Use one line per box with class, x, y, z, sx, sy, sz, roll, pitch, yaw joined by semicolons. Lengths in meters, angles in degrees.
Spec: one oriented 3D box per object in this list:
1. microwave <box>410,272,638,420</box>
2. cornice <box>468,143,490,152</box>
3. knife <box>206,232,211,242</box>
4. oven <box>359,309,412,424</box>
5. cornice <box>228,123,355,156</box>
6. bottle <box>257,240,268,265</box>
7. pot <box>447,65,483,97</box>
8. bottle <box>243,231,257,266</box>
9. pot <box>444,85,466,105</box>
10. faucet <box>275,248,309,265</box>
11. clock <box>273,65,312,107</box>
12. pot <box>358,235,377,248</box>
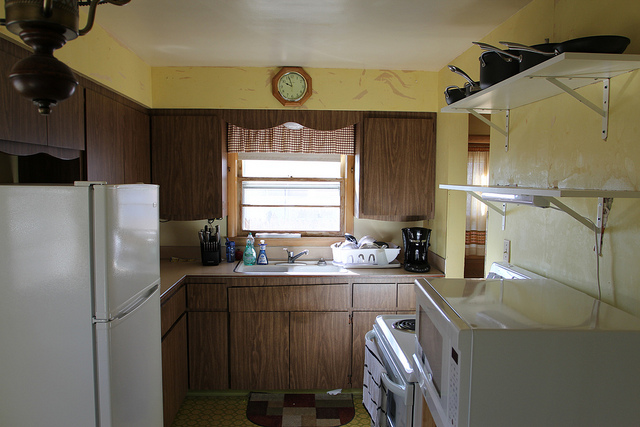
microwave;0.833;0.495;2.252;0.549;0.395;0.769;-1;6;1
cornice;1.654;-0.695;5.061;0.198;0.091;0.066;0;3;12
knife;-0.980;0.203;4.146;0.024;0.081;0.013;-2;3;-25
oven;0.395;0.984;2.901;0.318;0.565;0.689;0;3;9
cornice;-0.269;-0.671;4.358;1.141;0.268;0.076;-1;3;-1
bottle;-0.530;0.346;4.331;0.090;0.209;0.100;-1;3;-2
pot;0.812;-0.721;2.665;0.294;0.151;0.112;2;2;-39
bottle;-0.644;0.322;4.293;0.112;0.256;0.191;-1;3;-10
pot;0.794;-0.709;2.868;0.122;0.124;0.078;-2;13;3
faucet;-0.272;0.387;4.372;0.304;0.137;0.175;-1;3;3
clock;-0.247;-1.103;4.098;0.318;0.326;0.055;0;3;-1
pot;0.400;0.245;4.241;0.148;0.082;0.225;0;4;6
